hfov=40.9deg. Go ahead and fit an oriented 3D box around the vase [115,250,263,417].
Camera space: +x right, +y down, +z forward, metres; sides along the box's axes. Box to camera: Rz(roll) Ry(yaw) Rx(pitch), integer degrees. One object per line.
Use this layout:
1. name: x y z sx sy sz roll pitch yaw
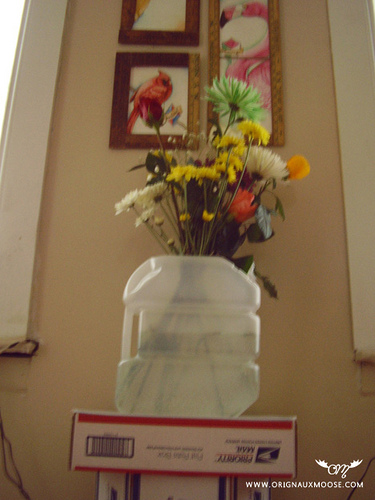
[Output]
1. vase: 0.001 0.170 1.014 0.286 0.307 0.132 -1 7 4
